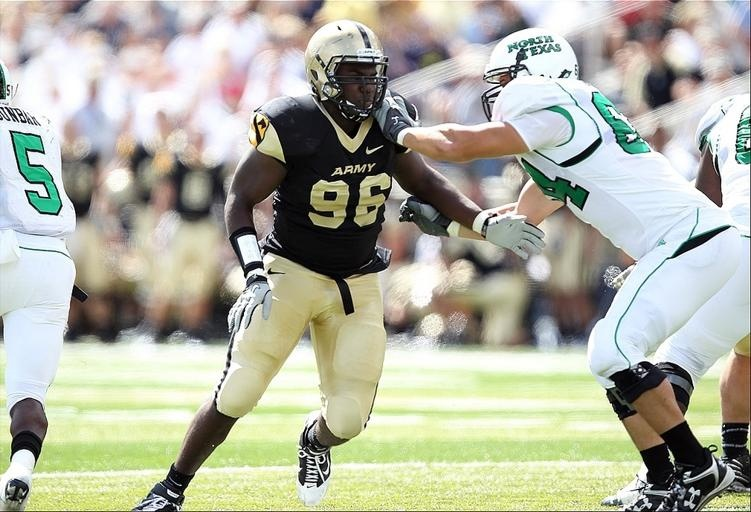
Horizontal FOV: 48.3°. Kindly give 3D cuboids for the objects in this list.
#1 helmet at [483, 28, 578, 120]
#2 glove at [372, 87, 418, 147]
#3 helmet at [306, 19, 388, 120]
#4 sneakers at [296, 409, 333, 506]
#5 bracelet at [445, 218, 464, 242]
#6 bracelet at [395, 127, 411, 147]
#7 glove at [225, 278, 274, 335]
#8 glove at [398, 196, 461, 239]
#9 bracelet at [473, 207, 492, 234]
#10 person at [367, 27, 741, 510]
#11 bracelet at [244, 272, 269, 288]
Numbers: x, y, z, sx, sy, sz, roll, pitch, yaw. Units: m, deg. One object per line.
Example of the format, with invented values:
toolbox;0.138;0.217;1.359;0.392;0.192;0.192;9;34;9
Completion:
helmet;0.847;-1.009;4.581;0.561;0.488;0.433;-12;6;1
glove;0.100;-0.712;4.369;0.143;0.326;0.217;14;18;42
helmet;-0.175;-0.995;4.421;0.478;0.500;0.383;15;20;33
sneakers;-0.317;1.068;4.432;0.155;0.474;0.188;2;-17;-5
bracelet;0.430;-0.142;4.639;0.081;0.111;0.042;10;40;1
bracelet;0.130;-0.605;4.235;0.080;0.081;0.075;33;6;-13
glove;-0.598;0.236;4.104;0.078;0.257;0.200;29;-31;-29
glove;0.296;-0.216;4.649;0.260;0.105;0.209;33;-23;6
bracelet;0.568;-0.183;4.498;0.095;0.125;0.078;6;30;-11
person;1.068;0.173;4.151;1.404;2.127;0.435;2;4;18
bracelet;-0.585;0.115;4.095;0.087;0.045;0.068;-3;1;13
